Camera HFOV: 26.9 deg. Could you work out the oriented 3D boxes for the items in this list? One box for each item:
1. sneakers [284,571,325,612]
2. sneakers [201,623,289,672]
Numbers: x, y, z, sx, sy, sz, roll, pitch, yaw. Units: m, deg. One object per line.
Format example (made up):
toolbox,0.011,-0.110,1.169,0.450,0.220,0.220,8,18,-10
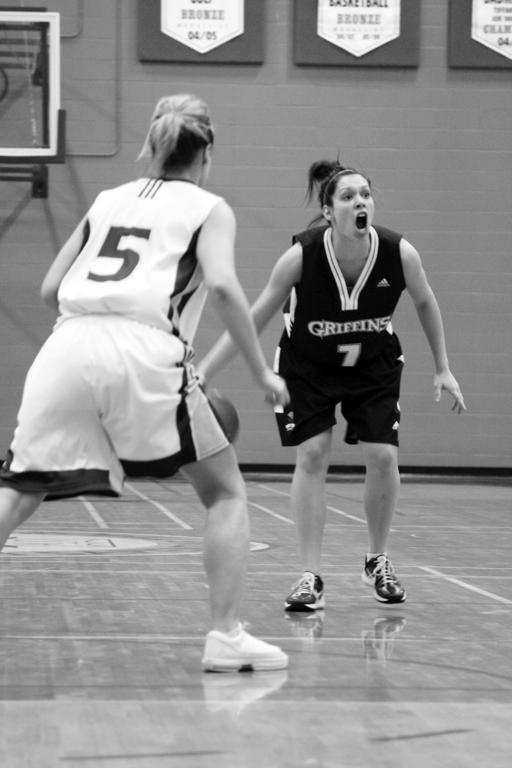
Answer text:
sneakers,0.150,0.656,3.350,0.119,0.102,0.173,5,10,7
sneakers,-0.033,0.607,2.461,0.245,0.104,0.077,3,-5,-19
